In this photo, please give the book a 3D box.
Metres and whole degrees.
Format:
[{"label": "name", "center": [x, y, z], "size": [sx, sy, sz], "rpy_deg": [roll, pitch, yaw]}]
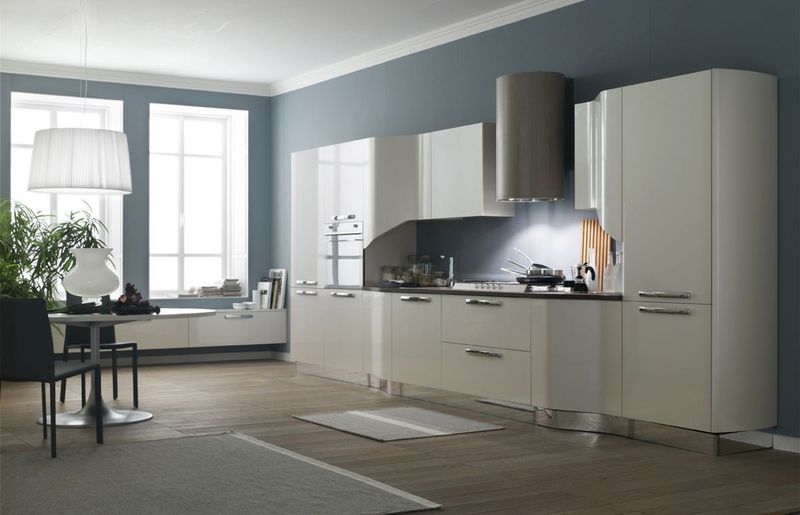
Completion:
[{"label": "book", "center": [-2.365, 0.421, 8.820], "size": [1.242, 0.527, 0.665], "rpy_deg": [0, -1, -30]}]
